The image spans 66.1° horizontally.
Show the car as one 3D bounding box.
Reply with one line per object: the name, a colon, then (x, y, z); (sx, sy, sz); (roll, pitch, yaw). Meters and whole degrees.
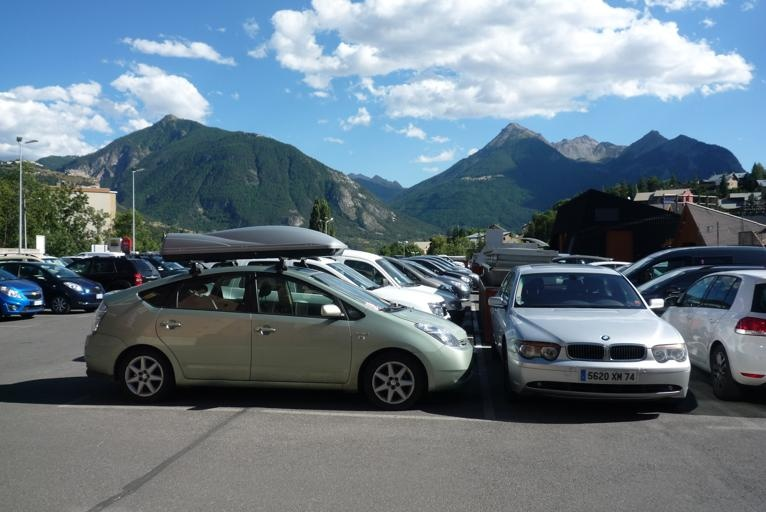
car: (-0.148, 0.885, 9.413); (8.572, 2.670, 1.810); (0, 4, 6)
